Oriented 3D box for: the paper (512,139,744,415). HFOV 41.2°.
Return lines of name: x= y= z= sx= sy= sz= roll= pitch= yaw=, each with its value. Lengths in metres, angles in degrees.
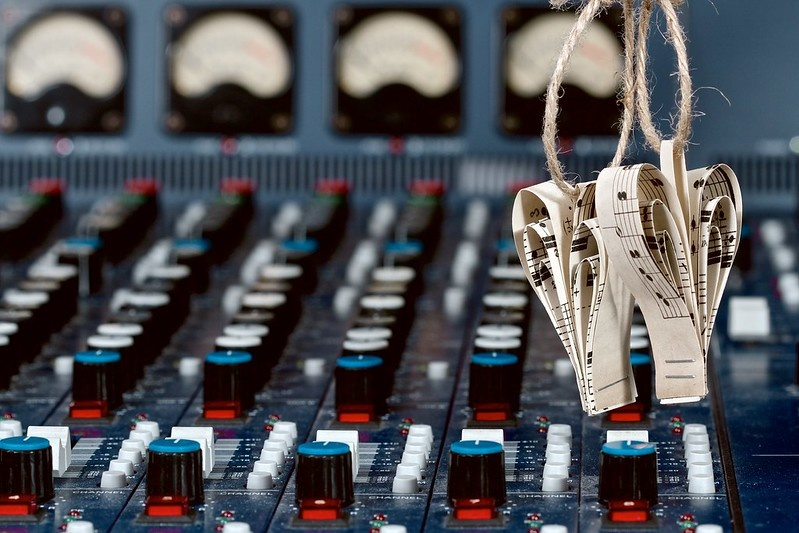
paper: x=0.545 y=0.034 z=2.525 sx=0.431 sy=0.604 sz=0.379 roll=13 pitch=-22 yaw=-33
